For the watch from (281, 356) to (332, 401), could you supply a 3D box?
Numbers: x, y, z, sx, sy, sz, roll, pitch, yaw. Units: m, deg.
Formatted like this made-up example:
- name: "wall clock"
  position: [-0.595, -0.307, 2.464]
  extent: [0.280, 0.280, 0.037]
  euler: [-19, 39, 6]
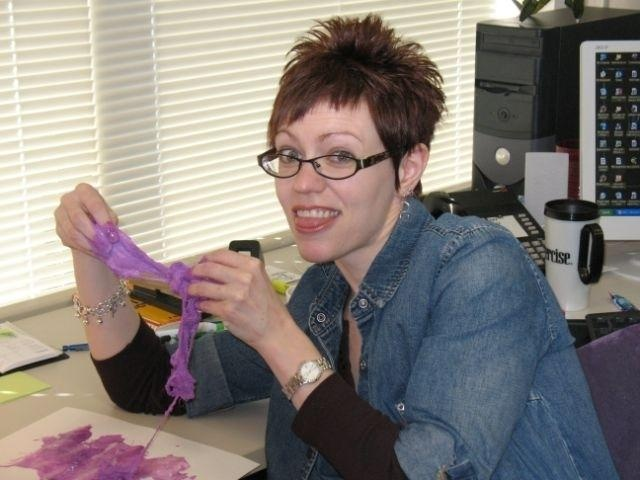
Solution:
- name: "watch"
  position: [-0.023, 0.245, 1.035]
  extent: [0.094, 0.048, 0.088]
  euler: [-35, -18, 8]
